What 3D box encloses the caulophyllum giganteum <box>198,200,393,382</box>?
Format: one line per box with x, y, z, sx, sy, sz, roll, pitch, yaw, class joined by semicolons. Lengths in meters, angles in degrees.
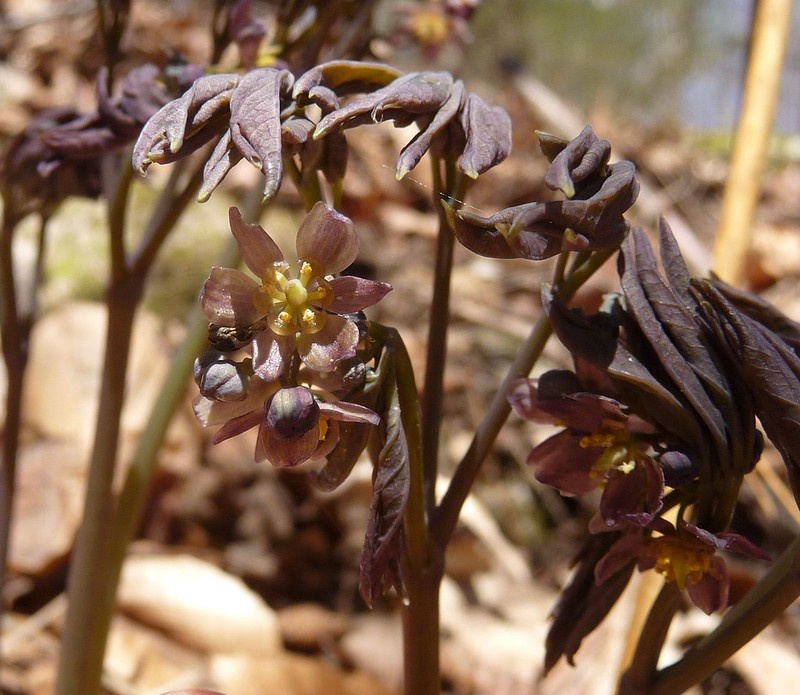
-0.081;-0.038;0.765;0.133;0.139;0.051;-26;-1;-3;caulophyllum giganteum
